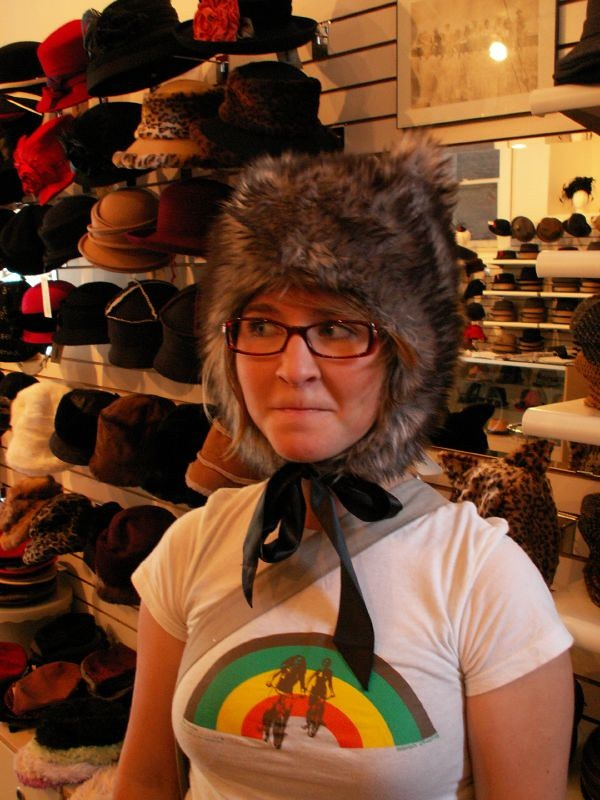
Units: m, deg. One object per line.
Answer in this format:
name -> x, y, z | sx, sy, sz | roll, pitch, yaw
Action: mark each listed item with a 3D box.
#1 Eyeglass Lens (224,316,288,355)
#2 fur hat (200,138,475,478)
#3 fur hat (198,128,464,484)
Eyeglass Lens -> -0.060, -0.073, 0.824 | 0.065, 0.025, 0.066 | 3, 1, 32
fur hat -> 0.054, -0.090, 0.994 | 0.410, 0.519, 0.431 | 8, 8, 16
fur hat -> 0.042, -0.115, 0.978 | 0.382, 0.477, 0.392 | 6, 13, 28
